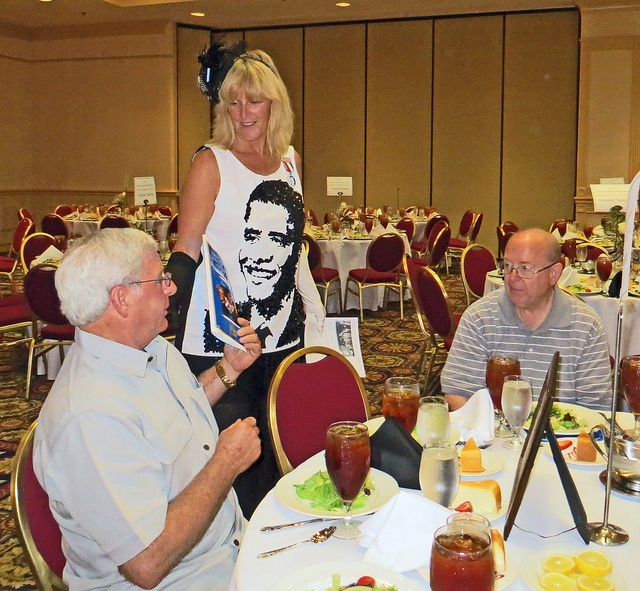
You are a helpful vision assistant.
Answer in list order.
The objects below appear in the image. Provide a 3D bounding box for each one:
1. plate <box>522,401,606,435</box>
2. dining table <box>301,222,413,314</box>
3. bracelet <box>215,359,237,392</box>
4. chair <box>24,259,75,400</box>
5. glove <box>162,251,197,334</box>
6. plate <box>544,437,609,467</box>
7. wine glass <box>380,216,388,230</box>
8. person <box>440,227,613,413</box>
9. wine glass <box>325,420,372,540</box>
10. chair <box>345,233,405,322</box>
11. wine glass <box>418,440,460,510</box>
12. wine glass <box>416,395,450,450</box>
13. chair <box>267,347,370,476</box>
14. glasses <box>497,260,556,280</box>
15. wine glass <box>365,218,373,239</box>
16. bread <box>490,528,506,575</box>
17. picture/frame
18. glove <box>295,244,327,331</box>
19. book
[{"bbox_3d":[0.722,0.355,1.653,0.135,0.028,0.148,-3,8,-10],"label":"plate"},{"bbox_3d":[0.636,-0.267,6.798,0.580,1.130,0.689,-1,17,-10],"label":"dining table"},{"bbox_3d":[-0.296,0.243,1.780,0.025,0.077,0.075,-18,-24,9],"label":"bracelet"},{"bbox_3d":[-1.923,0.261,4.197,0.428,0.801,0.400,11,-16,-30],"label":"chair"},{"bbox_3d":[-0.425,-0.010,1.764,0.062,0.234,0.158,8,0,-8],"label":"glove"},{"bbox_3d":[0.609,0.371,1.363,0.122,0.026,0.168,-2,5,0],"label":"plate"},{"bbox_3d":[0.860,-0.997,7.771,0.064,0.217,0.142,6,2,9],"label":"wine glass"},{"bbox_3d":[0.806,0.221,2.280,0.620,0.959,0.472,4,19,29],"label":"person"},{"bbox_3d":[0.056,0.362,1.141,0.114,0.219,0.122,-4,9,-19],"label":"wine glass"},{"bbox_3d":[0.662,-0.273,6.697,0.577,1.142,0.647,-6,22,-22],"label":"chair"},{"bbox_3d":[0.231,0.344,1.101,0.060,0.114,0.069,-3,6,8],"label":"wine glass"},{"bbox_3d":[0.278,0.325,1.409,0.077,0.150,0.079,5,14,37],"label":"wine glass"},{"bbox_3d":[-0.038,0.378,2.022,0.283,0.581,0.364,-4,-4,-23],"label":"chair"},{"bbox_3d":[0.798,-0.103,2.215,0.201,0.065,0.164,2,7,25],"label":"glasses"},{"bbox_3d":[0.607,-0.880,7.205,0.126,0.240,0.145,0,3,-1],"label":"wine glass"},{"bbox_3d":[0.304,0.436,0.985,0.018,0.085,0.085,-3,24,11],"label":"bread"},{"bbox_3d":[0.466,0.343,1.280,0.021,0.331,0.303,11,-4,9],"label":"picture/frame"},{"bbox_3d":[-0.020,-0.064,2.250,0.129,0.268,0.152,-3,-4,22],"label":"glove"},{"bbox_3d":[-0.286,-0.013,1.685,0.024,0.334,0.254,-18,-35,5],"label":"book"}]
